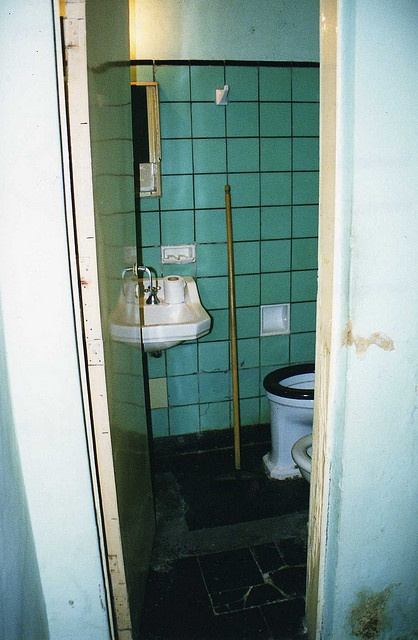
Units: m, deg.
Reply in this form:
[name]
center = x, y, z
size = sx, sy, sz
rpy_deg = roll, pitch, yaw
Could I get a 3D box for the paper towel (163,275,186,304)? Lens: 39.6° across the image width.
[paper towel]
center = -0.126, -0.114, 2.167
size = 0.078, 0.100, 0.083
rpy_deg = -7, 10, -38

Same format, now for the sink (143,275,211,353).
[sink]
center = -0.122, 0.004, 2.088
size = 0.221, 0.291, 0.474
rpy_deg = -3, 13, -5

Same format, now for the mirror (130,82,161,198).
[mirror]
center = -0.217, -0.685, 2.051
size = 0.025, 0.265, 0.134
rpy_deg = -1, 12, 25
